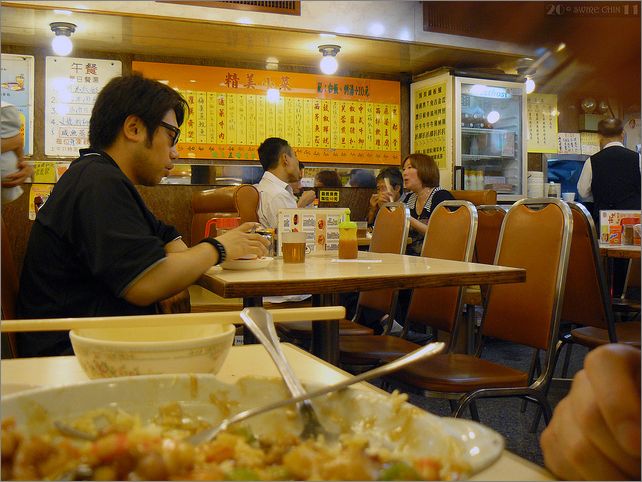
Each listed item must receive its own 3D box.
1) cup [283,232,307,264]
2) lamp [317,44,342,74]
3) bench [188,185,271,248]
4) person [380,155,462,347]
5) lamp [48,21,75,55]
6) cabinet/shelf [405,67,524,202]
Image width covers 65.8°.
[{"bbox_3d":[-0.105,0.025,1.929,0.107,0.121,0.107,0,0,0],"label":"cup"},{"bbox_3d":[0.078,-1.876,5.160,0.277,0.322,0.286,1,11,5],"label":"lamp"},{"bbox_3d":[-0.799,-0.131,4.207,0.648,0.453,0.388,1,-11,40],"label":"bench"},{"bbox_3d":[0.857,0.032,4.485,0.810,1.629,0.610,-2,4,-30],"label":"person"},{"bbox_3d":[-2.323,-1.795,4.430,0.220,0.267,0.221,-2,14,-15],"label":"lamp"},{"bbox_3d":[1.908,-1.219,6.371,1.159,1.700,0.894,3,-2,-20],"label":"cabinet/shelf"}]
